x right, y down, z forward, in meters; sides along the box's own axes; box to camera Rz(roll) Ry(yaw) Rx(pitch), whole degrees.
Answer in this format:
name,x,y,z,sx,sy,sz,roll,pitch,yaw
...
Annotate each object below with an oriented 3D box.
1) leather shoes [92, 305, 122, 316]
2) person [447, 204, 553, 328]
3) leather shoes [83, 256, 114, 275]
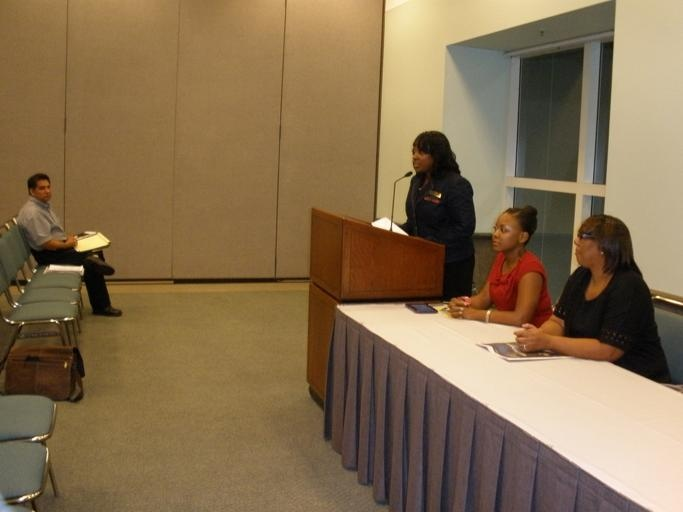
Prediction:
name,x,y,z,sx,sy,sz,roll,pitch,yaw
leather shoes,-2.581,0.599,5.961,0.275,0.144,0.131,-1,2,-6
person,1.039,0.077,3.452,0.575,0.778,0.552,1,6,-5
leather shoes,-2.476,0.077,5.548,0.260,0.114,0.210,29,13,27
